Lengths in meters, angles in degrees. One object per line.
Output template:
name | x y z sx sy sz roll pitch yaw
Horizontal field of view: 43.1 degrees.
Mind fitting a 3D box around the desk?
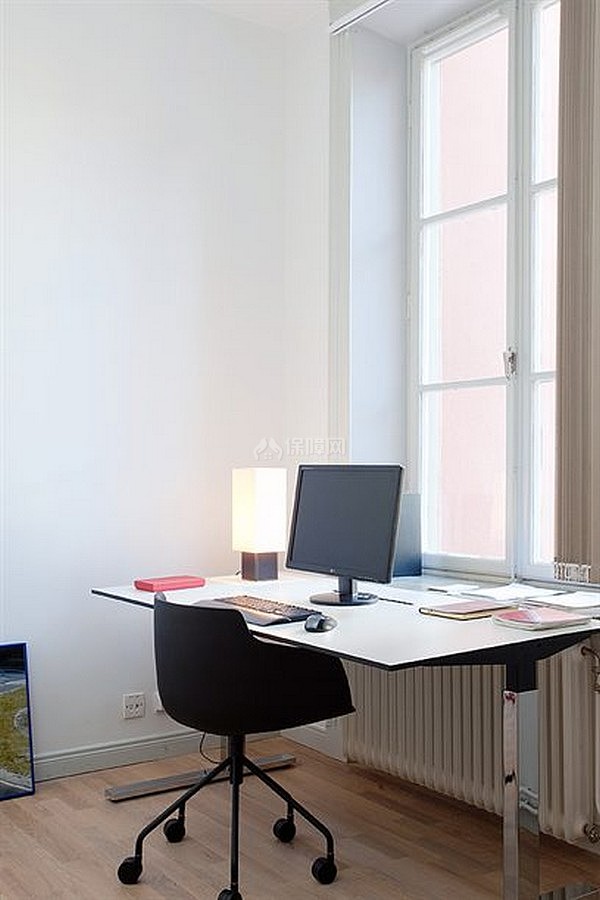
desk | 0.146 0.610 1.845 0.697 0.533 1.000 -3 2 -40

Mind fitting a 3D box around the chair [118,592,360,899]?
chair | -0.193 0.677 2.139 0.638 0.901 0.646 2 -4 -37

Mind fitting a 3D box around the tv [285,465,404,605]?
tv | 0.126 0.243 2.195 0.397 0.396 0.174 0 -3 44
